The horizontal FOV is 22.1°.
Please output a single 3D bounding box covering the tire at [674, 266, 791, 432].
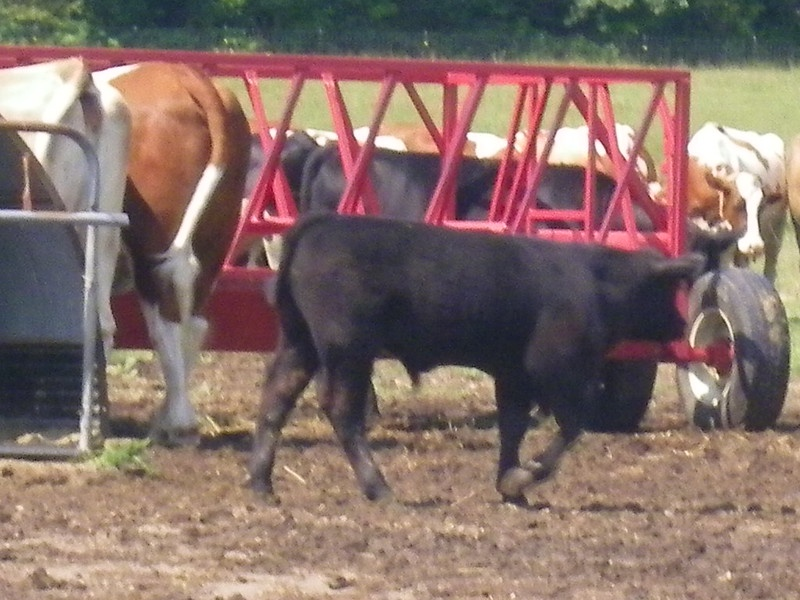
[{"bbox_3d":[1.672,0.244,10.329,0.314,0.934,0.808,-4,3,-31],"label":"tire"}]
